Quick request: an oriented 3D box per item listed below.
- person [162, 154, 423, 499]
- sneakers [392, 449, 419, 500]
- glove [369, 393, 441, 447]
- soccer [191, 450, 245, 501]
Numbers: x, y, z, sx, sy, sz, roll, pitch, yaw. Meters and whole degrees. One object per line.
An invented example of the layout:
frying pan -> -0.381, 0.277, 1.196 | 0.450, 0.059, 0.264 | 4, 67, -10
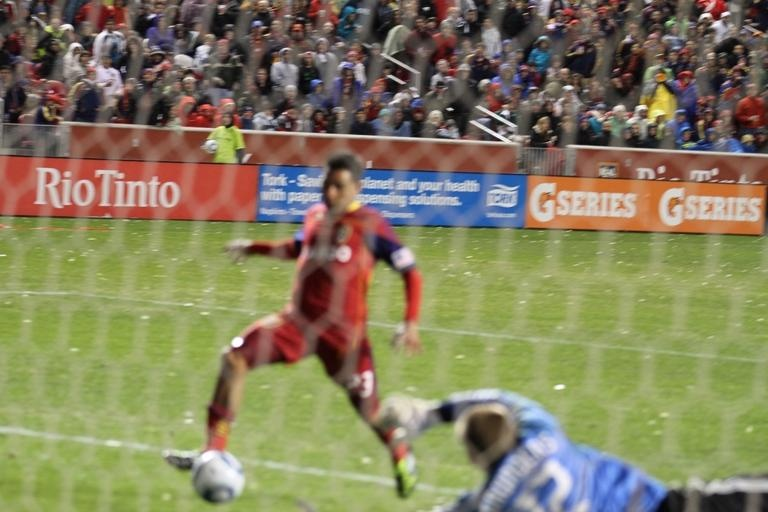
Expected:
person -> -0.446, 0.287, 6.539 | 1.415, 1.945, 0.709 | 1, 16, -9
sneakers -> 0.158, 1.466, 6.648 | 0.171, 0.344, 0.182 | -9, 17, -8
glove -> 0.196, 0.905, 5.386 | 0.400, 0.173, 0.466 | 0, 4, 43
soccer -> -1.056, 1.403, 6.290 | 0.399, 0.355, 0.314 | 0, -39, -10
